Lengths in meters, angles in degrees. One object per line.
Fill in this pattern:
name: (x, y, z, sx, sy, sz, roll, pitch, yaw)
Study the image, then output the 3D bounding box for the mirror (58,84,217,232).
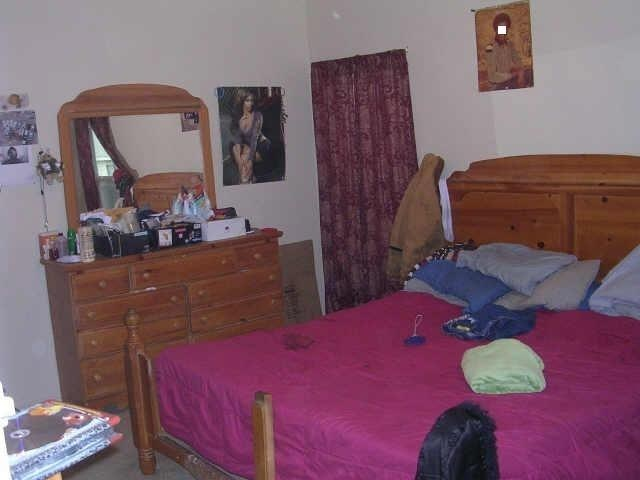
mirror: (-1.606, -0.690, 4.362, 1.189, 1.350, 0.094, -11, 19, -30)

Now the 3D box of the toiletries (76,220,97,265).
toiletries: (-1.734, 0.029, 3.806, 0.116, 0.244, 0.215, -10, 15, -24)

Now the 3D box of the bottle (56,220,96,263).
bottle: (-1.853, 0.032, 3.897, 0.266, 0.257, 0.136, -2, 5, -22)

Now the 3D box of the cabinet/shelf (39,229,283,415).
cabinet/shelf: (-1.229, 0.573, 3.644, 1.311, 0.854, 0.462, -15, 18, -43)
